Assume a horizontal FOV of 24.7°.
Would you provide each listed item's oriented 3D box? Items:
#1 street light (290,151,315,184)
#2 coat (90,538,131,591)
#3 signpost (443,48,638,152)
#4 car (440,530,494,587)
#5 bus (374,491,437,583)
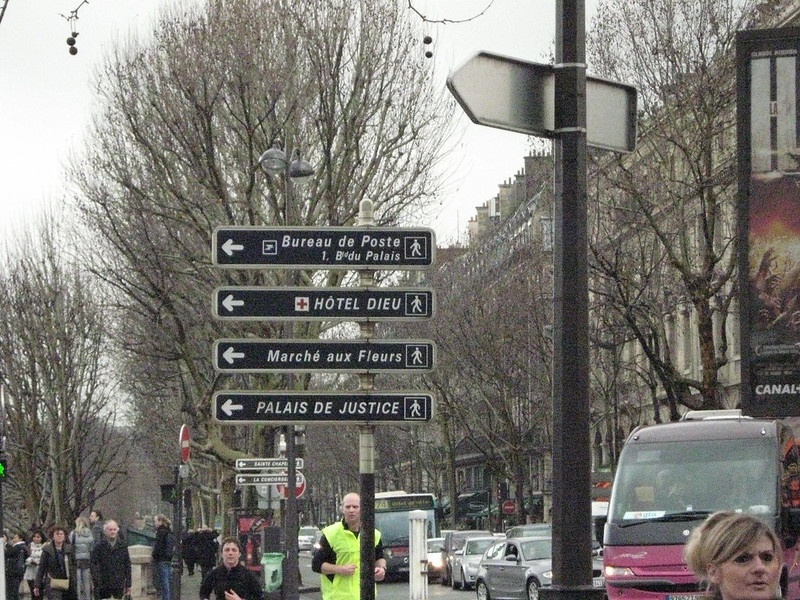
[{"bbox_3d":[-2.165,-2.825,38.826,0.534,0.840,0.577,-5,4,-18],"label":"street light"},{"bbox_3d":[-5.855,5.358,36.812,0.739,1.191,0.408,-4,-10,-4],"label":"coat"},{"bbox_3d":[1.899,-2.715,24.886,2.647,1.136,0.208,11,-26,-6],"label":"signpost"},{"bbox_3d":[2.352,7.786,54.795,1.340,1.664,2.965,0,-4,-7],"label":"car"},{"bbox_3d":[0.241,7.574,60.895,1.480,2.411,4.569,2,-12,-11],"label":"bus"}]
